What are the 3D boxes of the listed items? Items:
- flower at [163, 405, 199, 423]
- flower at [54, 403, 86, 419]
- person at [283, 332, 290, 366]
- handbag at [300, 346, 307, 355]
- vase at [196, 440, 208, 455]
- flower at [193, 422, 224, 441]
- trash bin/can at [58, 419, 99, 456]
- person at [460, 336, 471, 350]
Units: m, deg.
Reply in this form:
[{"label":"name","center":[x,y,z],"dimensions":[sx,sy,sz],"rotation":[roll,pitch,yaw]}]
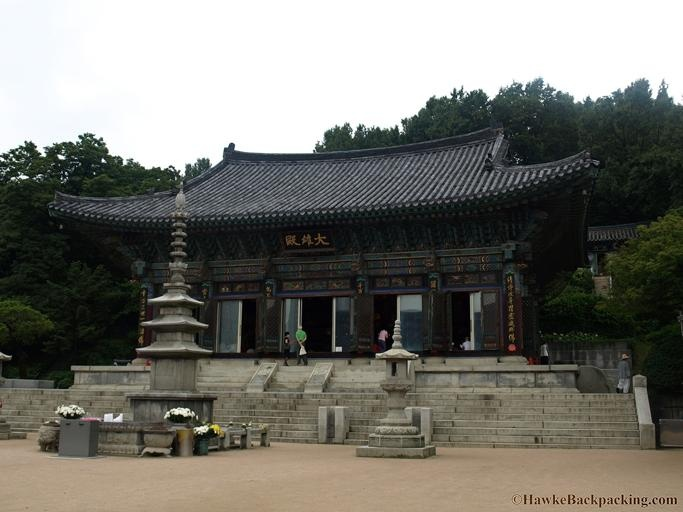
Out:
[{"label":"flower","center":[-3.863,3.843,18.613],"dimensions":[0.735,0.388,0.531],"rotation":[2,-16,-12]},{"label":"flower","center":[-6.565,3.814,18.813],"dimensions":[0.563,0.400,1.142],"rotation":[5,-16,-21]},{"label":"person","center":[-2.080,3.530,29.740],"dimensions":[0.283,1.332,0.450],"rotation":[0,-16,-4]},{"label":"handbag","center":[-1.406,3.585,29.007],"dimensions":[0.322,0.416,0.251],"rotation":[-3,-13,9]},{"label":"vase","center":[-3.340,4.610,18.601],"dimensions":[0.330,0.316,0.320],"rotation":[-1,-20,-6]},{"label":"flower","center":[-3.215,4.246,18.738],"dimensions":[0.465,0.211,0.457],"rotation":[-1,-8,17]},{"label":"trash bin/can","center":[-6.121,4.271,18.093],"dimensions":[0.874,0.837,0.472],"rotation":[0,-8,5]},{"label":"person","center":[4.637,3.277,28.722],"dimensions":[0.370,0.625,1.053],"rotation":[-3,-15,7]}]
